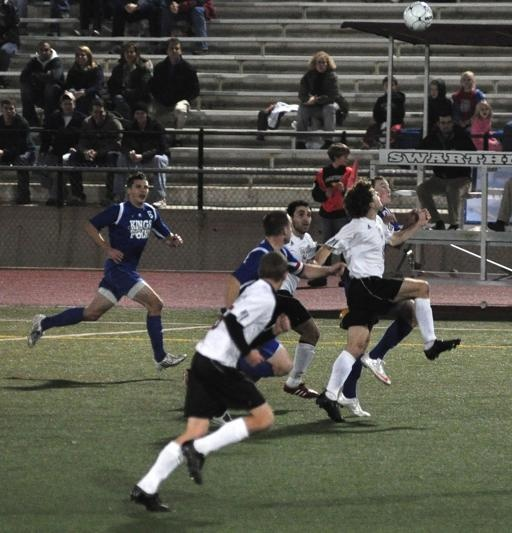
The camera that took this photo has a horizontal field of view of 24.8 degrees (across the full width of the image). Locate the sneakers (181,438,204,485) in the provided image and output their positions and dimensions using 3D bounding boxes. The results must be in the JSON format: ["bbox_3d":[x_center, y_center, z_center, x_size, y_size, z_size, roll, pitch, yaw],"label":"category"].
[{"bbox_3d":[-0.375,1.160,6.941,0.126,0.280,0.105,-7,13,12],"label":"sneakers"}]

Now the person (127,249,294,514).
[{"bbox_3d":[-0.260,0.687,7.035,0.903,1.562,0.386,1,6,-19],"label":"person"}]

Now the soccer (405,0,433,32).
[{"bbox_3d":[1.902,-2.938,13.537,0.321,0.346,0.369,4,6,8],"label":"soccer"}]

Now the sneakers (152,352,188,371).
[{"bbox_3d":[-0.730,0.801,9.969,0.295,0.145,0.107,-20,34,16],"label":"sneakers"}]
